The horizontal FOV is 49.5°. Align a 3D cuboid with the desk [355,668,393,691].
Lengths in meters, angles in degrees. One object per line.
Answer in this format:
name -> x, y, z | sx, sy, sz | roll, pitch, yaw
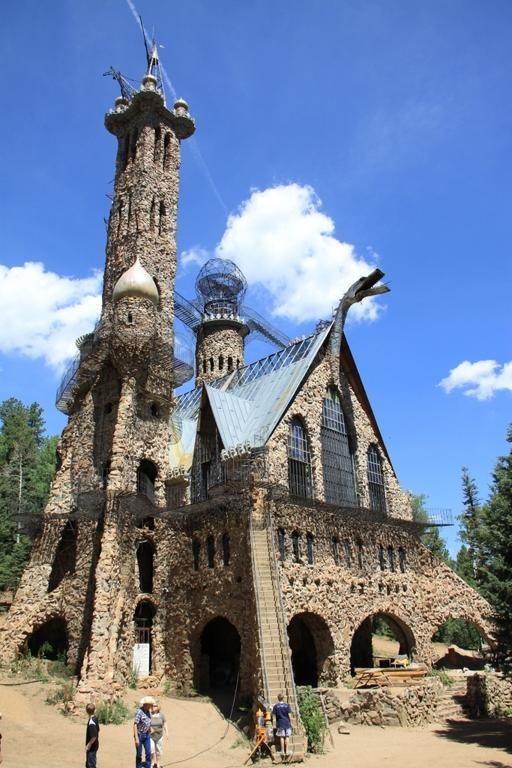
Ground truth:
desk -> 4.183, 10.562, 19.982 | 1.277, 0.454, 2.139 | -5, -21, 9
